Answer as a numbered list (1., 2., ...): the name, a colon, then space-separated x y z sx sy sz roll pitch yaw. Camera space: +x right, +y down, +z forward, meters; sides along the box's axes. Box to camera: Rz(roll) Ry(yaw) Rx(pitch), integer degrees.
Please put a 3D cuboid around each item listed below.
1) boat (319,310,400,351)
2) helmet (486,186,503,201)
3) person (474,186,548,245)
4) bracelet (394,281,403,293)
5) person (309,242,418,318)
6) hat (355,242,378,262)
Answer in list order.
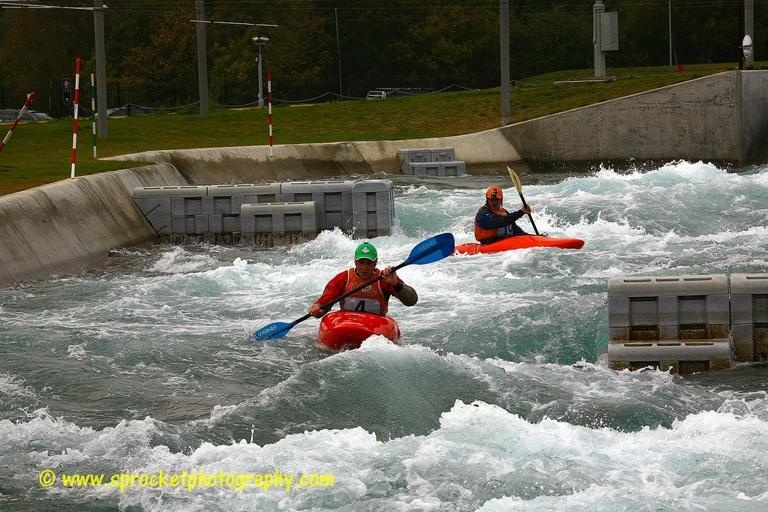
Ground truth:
1. boat: -0.405 0.978 14.978 1.020 0.420 1.555 2 7 3
2. helmet: 2.115 -1.197 19.496 0.283 0.189 0.363 5 -12 5
3. person: 2.359 -0.445 19.539 1.106 1.664 0.949 10 26 34
4. bracelet: 0.209 0.439 14.495 0.128 0.095 0.148 -3 -4 -3
5. person: -0.309 0.422 15.944 1.237 1.280 0.768 3 -20 6
6. hat: -0.244 -0.047 14.572 0.245 0.170 0.330 3 1 4
